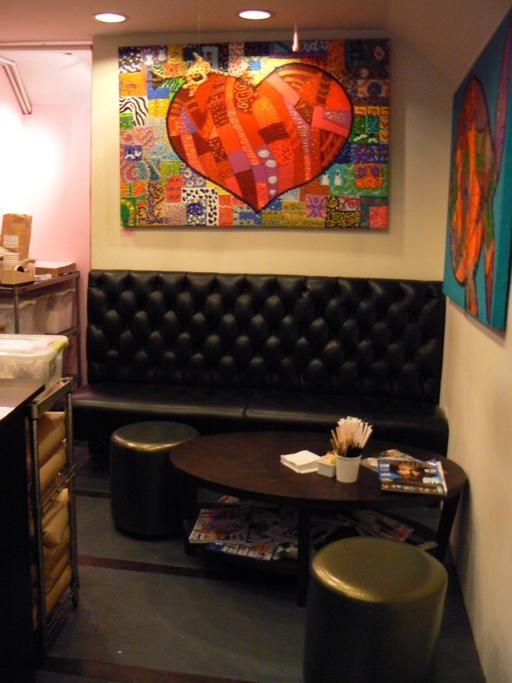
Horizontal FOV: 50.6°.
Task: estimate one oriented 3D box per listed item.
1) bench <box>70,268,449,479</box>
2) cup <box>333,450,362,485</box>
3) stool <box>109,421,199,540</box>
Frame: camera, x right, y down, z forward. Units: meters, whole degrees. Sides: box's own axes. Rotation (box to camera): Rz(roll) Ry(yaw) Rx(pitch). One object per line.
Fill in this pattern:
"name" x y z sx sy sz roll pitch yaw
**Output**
"bench" -0.010 0.205 3.078 2.091 1.085 0.680 3 11 7
"cup" 0.324 0.441 1.918 0.087 0.074 0.096 3 10 6
"stool" -0.469 0.621 2.519 0.429 0.489 0.437 1 5 7
